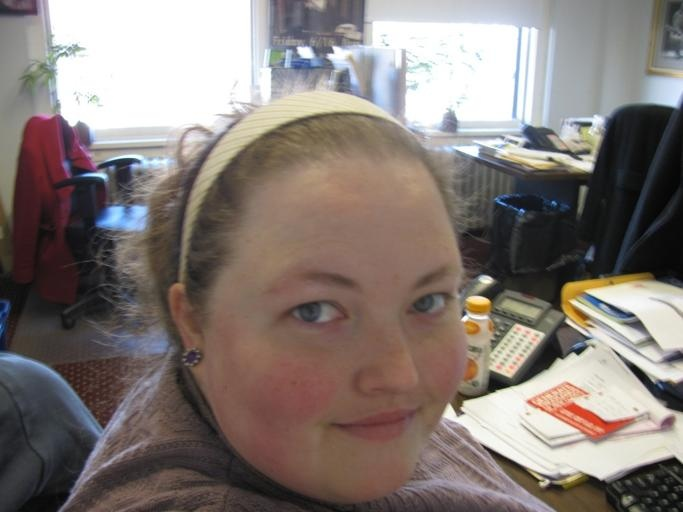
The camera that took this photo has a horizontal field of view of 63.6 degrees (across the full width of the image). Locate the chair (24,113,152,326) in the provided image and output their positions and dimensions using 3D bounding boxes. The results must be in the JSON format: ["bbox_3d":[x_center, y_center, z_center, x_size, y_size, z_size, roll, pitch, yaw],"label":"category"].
[{"bbox_3d":[-1.573,-0.257,3.570,0.710,1.157,0.792,7,15,-15],"label":"chair"}]

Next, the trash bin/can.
[{"bbox_3d":[1.056,-0.127,3.162,0.469,0.439,0.394,-20,28,-26],"label":"trash bin/can"}]

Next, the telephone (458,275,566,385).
[{"bbox_3d":[0.411,0.170,1.462,0.269,0.296,0.115,23,31,4],"label":"telephone"}]
